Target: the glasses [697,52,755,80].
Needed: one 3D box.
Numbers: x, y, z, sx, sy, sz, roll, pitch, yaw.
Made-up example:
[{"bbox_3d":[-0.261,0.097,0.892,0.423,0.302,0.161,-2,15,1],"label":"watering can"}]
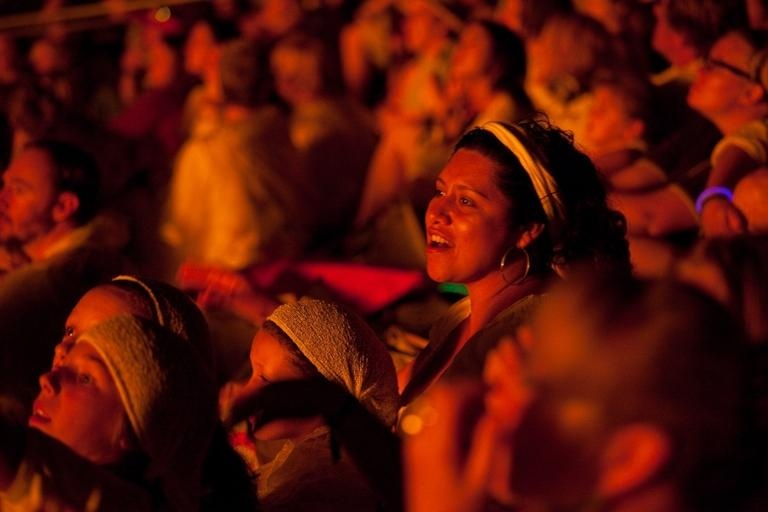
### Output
[{"bbox_3d":[1.421,-0.786,3.773,0.267,0.079,0.058,31,74,28],"label":"glasses"}]
